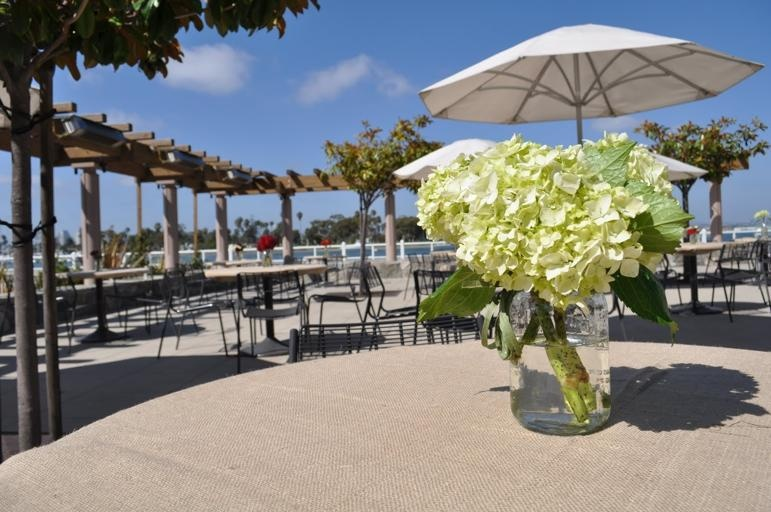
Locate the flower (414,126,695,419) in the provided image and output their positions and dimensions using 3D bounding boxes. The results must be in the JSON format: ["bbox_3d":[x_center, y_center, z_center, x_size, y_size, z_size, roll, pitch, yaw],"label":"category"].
[{"bbox_3d":[0.652,0.173,2.527,0.728,0.845,0.603,5,22,36],"label":"flower"}]
